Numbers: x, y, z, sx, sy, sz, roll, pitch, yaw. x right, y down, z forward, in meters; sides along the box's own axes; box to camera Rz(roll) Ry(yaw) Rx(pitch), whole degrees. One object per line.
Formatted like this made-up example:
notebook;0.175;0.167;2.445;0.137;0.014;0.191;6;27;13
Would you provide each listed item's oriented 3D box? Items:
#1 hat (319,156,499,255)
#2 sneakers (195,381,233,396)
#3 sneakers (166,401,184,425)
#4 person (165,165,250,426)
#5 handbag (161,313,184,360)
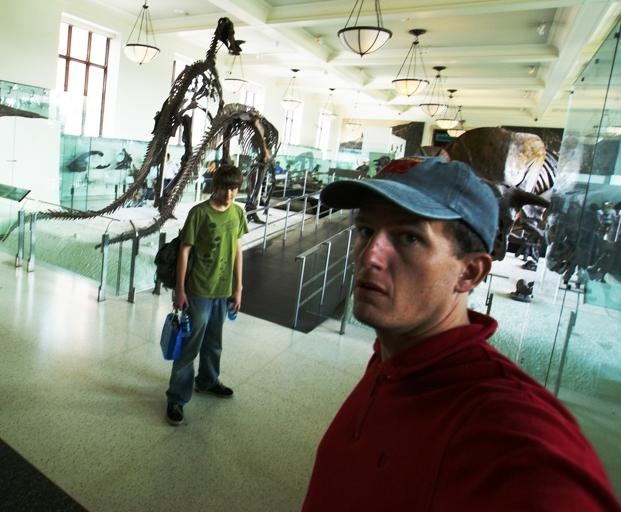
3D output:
hat;0.226;-0.087;0.936;0.322;0.154;0.216;26;3;-14
sneakers;-0.754;1.090;3.499;0.311;0.119;0.114;6;6;-6
sneakers;-0.969;1.126;3.141;0.127;0.137;0.152;4;13;-16
person;-0.758;0.247;3.223;0.350;1.845;0.687;15;14;29
handbag;-0.970;0.602;3.082;0.142;0.404;0.238;3;14;-22
